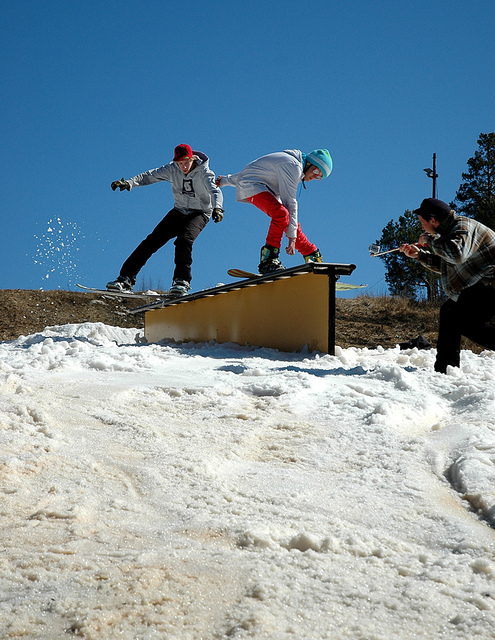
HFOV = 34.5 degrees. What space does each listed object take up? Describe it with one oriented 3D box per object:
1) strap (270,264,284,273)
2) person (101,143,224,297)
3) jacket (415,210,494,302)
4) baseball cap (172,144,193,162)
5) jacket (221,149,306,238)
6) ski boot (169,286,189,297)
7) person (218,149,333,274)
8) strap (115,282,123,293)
[{"bbox_3d":[0.229,-0.422,6.563,0.093,0.059,0.155,6,11,0],"label":"strap"},{"bbox_3d":[-0.742,-0.909,7.348,0.978,1.393,0.718,6,13,-3],"label":"person"},{"bbox_3d":[1.282,-0.374,4.831,0.415,0.540,0.444,8,13,7],"label":"jacket"},{"bbox_3d":[-0.586,-1.508,7.241,0.152,0.152,0.130,5,13,-4],"label":"baseball cap"},{"bbox_3d":[0.190,-1.127,6.926,0.351,0.701,1.006,-1,14,-31],"label":"jacket"},{"bbox_3d":[-0.648,-0.264,7.417,0.166,0.121,0.259,5,12,-6],"label":"ski boot"},{"bbox_3d":[0.051,-0.955,6.905,1.428,1.041,0.584,-2,4,-12],"label":"person"},{"bbox_3d":[-1.166,-0.294,7.272,0.079,0.062,0.027,47,26,0],"label":"strap"}]
